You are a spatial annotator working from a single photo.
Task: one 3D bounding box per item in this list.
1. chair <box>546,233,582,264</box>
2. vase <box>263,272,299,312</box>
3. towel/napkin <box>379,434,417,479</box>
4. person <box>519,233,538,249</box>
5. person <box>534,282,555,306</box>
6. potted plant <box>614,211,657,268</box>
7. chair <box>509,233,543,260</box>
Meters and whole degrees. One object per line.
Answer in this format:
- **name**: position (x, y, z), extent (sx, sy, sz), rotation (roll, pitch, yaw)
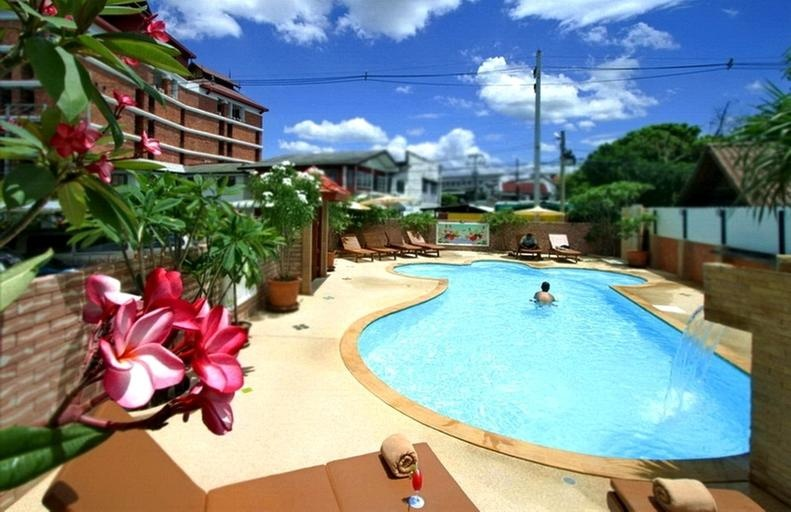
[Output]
- **chair**: position (7.613, -0.421, 23.177), extent (1.334, 1.052, 3.021), rotation (2, 6, 17)
- **vase**: position (-2.507, 0.817, 11.403), extent (0.795, 0.590, 0.760), rotation (-1, 6, -19)
- **towel/napkin**: position (0.022, 2.269, 5.887), extent (0.387, 0.403, 0.463), rotation (9, 20, -24)
- **person**: position (5.968, -0.635, 23.106), extent (0.668, 0.386, 0.895), rotation (2, 9, 2)
- **person**: position (4.095, 0.992, 13.994), extent (0.587, 0.686, 1.217), rotation (2, 7, 16)
- **potted plant**: position (9.735, -0.832, 20.553), extent (1.244, 2.384, 1.994), rotation (3, 7, 24)
- **chair**: position (5.899, -0.368, 22.895), extent (1.032, 1.032, 1.593), rotation (0, -4, 6)
